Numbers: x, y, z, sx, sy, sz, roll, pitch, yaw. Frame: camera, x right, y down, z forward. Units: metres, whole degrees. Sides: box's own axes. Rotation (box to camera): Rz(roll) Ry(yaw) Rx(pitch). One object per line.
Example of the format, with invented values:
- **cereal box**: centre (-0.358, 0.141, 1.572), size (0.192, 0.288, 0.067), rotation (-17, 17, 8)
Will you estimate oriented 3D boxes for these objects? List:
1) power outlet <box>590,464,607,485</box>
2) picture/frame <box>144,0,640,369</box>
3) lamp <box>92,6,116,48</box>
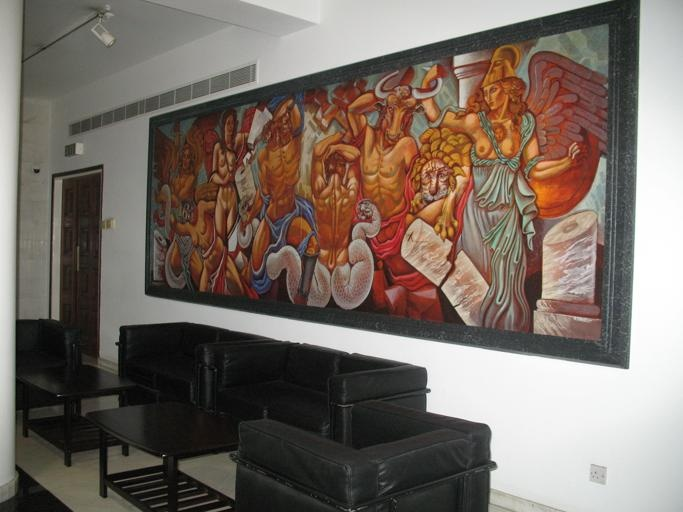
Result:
- **power outlet**: centre (1.856, 1.574, 4.406), size (0.125, 0.137, 0.013), rotation (19, 9, 40)
- **picture/frame**: centre (0.249, -0.546, 5.769), size (4.756, 2.763, 0.189), rotation (-1, 0, 41)
- **lamp**: centre (-2.719, -2.662, 7.009), size (0.229, 0.258, 0.344), rotation (-30, -21, -37)
